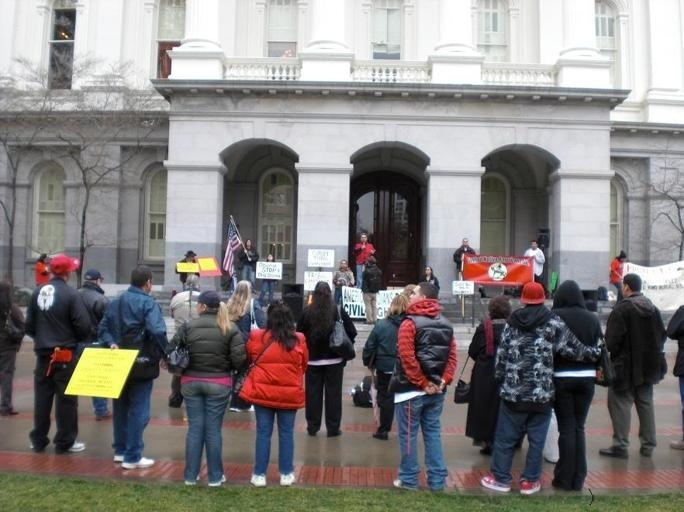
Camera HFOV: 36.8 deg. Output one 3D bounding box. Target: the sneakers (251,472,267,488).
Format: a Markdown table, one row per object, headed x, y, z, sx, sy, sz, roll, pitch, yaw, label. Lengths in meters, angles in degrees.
| x | y | z | sx | sy | sz | roll | pitch | yaw | label |
| --- | --- | --- | --- | --- | --- | --- | --- | --- | --- |
| -1.734 | 4.681 | 21.524 | 0.156 | 0.172 | 0.412 | 1 | 0 | -16 | sneakers |

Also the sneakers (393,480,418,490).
| x | y | z | sx | sy | sz | roll | pitch | yaw | label |
| --- | --- | --- | --- | --- | --- | --- | --- | --- | --- |
| 1.335 | 4.773 | 21.652 | 0.519 | 0.209 | 0.191 | 6 | -6 | 14 | sneakers |

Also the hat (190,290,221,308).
| x | y | z | sx | sy | sz | roll | pitch | yaw | label |
| --- | --- | --- | --- | --- | --- | --- | --- | --- | --- |
| -2.817 | 0.880 | 21.723 | 0.443 | 0.225 | 0.320 | 22 | 25 | 26 | hat |

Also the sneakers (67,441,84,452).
| x | y | z | sx | sy | sz | roll | pitch | yaw | label |
| --- | --- | --- | --- | --- | --- | --- | --- | --- | --- |
| -5.868 | 4.207 | 22.648 | 0.382 | 0.166 | 0.148 | 0 | 3 | -15 | sneakers |

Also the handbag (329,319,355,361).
| x | y | z | sx | sy | sz | roll | pitch | yaw | label |
| --- | --- | --- | --- | --- | --- | --- | --- | --- | --- |
| -0.017 | 1.915 | 23.408 | 0.313 | 0.696 | 0.716 | -8 | -29 | 19 | handbag |

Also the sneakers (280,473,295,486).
| x | y | z | sx | sy | sz | roll | pitch | yaw | label |
| --- | --- | --- | --- | --- | --- | --- | --- | --- | --- |
| -1.142 | 4.676 | 21.604 | 0.149 | 0.164 | 0.402 | 0 | -1 | 15 | sneakers |

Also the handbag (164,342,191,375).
| x | y | z | sx | sy | sz | roll | pitch | yaw | label |
| --- | --- | --- | --- | --- | --- | --- | --- | --- | --- |
| -3.413 | 2.121 | 21.471 | 0.429 | 0.765 | 0.570 | 9 | -5 | 24 | handbag |

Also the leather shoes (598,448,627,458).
| x | y | z | sx | sy | sz | roll | pitch | yaw | label |
| --- | --- | --- | --- | --- | --- | --- | --- | --- | --- |
| 6.059 | 4.348 | 22.916 | 0.586 | 0.222 | 0.233 | 0 | -5 | 23 | leather shoes |

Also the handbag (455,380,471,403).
| x | y | z | sx | sy | sz | roll | pitch | yaw | label |
| --- | --- | --- | --- | --- | --- | --- | --- | --- | --- |
| 2.712 | 3.008 | 22.951 | 0.348 | 0.501 | 0.476 | 1 | -4 | 5 | handbag |

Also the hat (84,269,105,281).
| x | y | z | sx | sy | sz | roll | pitch | yaw | label |
| --- | --- | --- | --- | --- | --- | --- | --- | --- | --- |
| -5.681 | 0.443 | 23.651 | 0.268 | 0.209 | 0.375 | 11 | 8 | 18 | hat |

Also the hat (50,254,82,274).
| x | y | z | sx | sy | sz | roll | pitch | yaw | label |
| --- | --- | --- | --- | --- | --- | --- | --- | --- | --- |
| -6.242 | 0.191 | 22.964 | 0.432 | 0.430 | 0.668 | 1 | -4 | -4 | hat |

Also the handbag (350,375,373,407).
| x | y | z | sx | sy | sz | roll | pitch | yaw | label |
| --- | --- | --- | --- | --- | --- | --- | --- | --- | --- |
| 0.567 | 3.330 | 25.080 | 0.787 | 0.758 | 0.558 | -2 | 1 | 28 | handbag |
